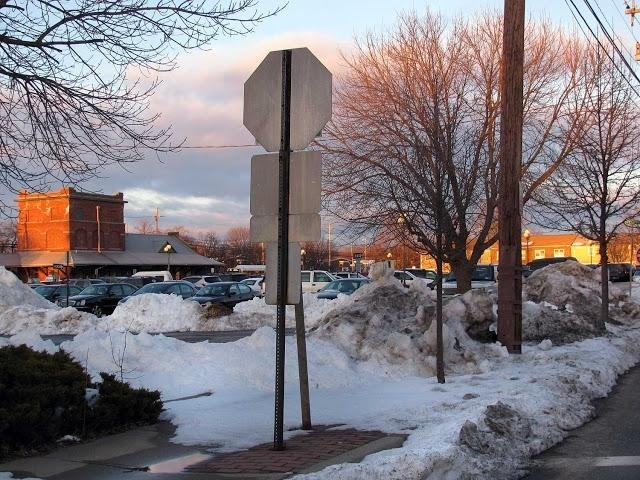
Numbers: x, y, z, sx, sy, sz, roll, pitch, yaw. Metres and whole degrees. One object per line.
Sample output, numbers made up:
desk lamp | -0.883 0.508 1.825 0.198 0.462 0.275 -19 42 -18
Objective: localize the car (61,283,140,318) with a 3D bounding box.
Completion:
car | -8.685 2.274 30.972 1.164 0.843 2.656 -4 -7 30

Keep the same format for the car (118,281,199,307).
car | -6.071 2.091 31.684 1.088 0.748 2.241 -4 -8 34
